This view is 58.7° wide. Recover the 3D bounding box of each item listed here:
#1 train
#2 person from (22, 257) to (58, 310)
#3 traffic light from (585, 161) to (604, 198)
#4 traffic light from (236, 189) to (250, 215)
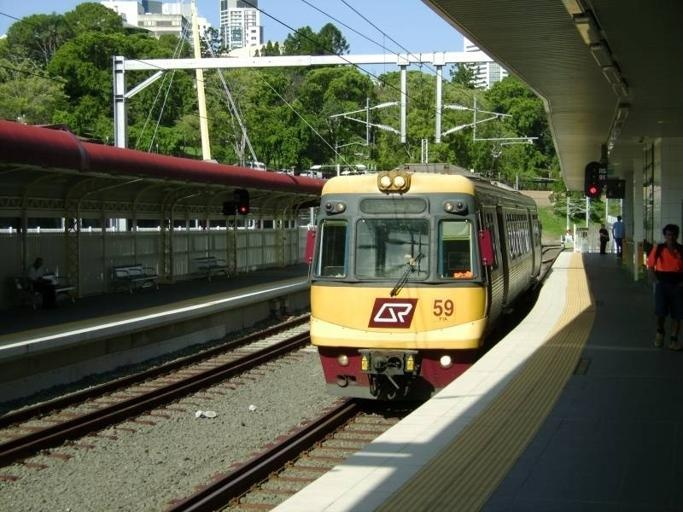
[{"bbox_3d":[1.755,0.196,11.179,2.631,3.988,4.658,1,4,29],"label":"train"},{"bbox_3d":[-8.085,0.729,16.269,0.735,1.245,0.668,3,5,-8],"label":"person"},{"bbox_3d":[7.140,-2.130,17.041,0.520,0.989,0.597,0,4,22],"label":"traffic light"},{"bbox_3d":[-3.545,-1.961,21.736,0.463,0.852,0.408,-1,4,2],"label":"traffic light"}]
